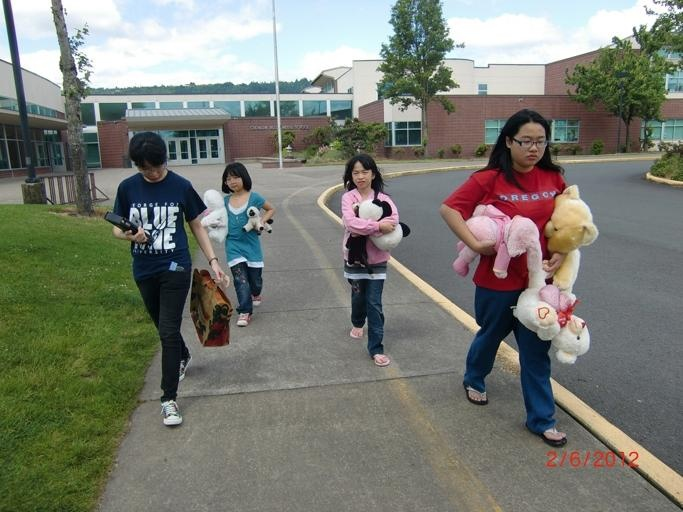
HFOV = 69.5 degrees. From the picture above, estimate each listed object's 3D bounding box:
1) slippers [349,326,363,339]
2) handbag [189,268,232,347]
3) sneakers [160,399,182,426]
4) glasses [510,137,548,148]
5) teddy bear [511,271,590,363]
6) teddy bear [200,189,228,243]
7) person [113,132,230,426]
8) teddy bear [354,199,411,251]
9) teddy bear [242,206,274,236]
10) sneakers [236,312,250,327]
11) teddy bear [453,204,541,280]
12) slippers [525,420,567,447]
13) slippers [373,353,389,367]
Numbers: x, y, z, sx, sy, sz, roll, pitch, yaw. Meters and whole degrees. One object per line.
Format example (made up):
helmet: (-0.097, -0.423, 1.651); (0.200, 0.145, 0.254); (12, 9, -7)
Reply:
slippers: (0.163, 0.842, 5.365); (0.108, 0.086, 0.208); (0, -3, 2)
handbag: (-1.160, 0.433, 4.438); (0.273, 0.648, 0.656); (-7, 30, -36)
sneakers: (-1.342, 1.253, 3.890); (0.100, 0.104, 0.245); (-3, -3, -22)
glasses: (1.374, -0.823, 3.587); (0.217, 0.066, 0.080); (3, 14, -3)
teddy bear: (1.553, 0.489, 3.628); (0.512, 0.551, 0.281); (1, 14, -6)
teddy bear: (-1.549, -0.465, 5.940); (0.336, 0.628, 0.360); (-12, -1, 6)
person: (-1.439, 0.115, 4.117); (0.800, 2.216, 0.979); (-4, 15, -25)
teddy bear: (0.399, -0.273, 4.703); (0.516, 0.502, 0.178); (0, 14, -12)
teddy bear: (-0.974, -0.436, 5.979); (0.219, 0.332, 0.437); (10, 16, 27)
sneakers: (-1.164, 0.732, 5.838); (0.164, 0.125, 0.275); (2, 15, -6)
teddy bear: (1.187, -0.068, 3.709); (0.546, 0.439, 0.487); (4, 53, 31)
slippers: (1.553, 1.346, 3.680); (0.208, 0.082, 0.126); (16, 32, 42)
slippers: (0.409, 1.013, 4.792); (0.167, 0.083, 0.154); (0, 15, -12)
